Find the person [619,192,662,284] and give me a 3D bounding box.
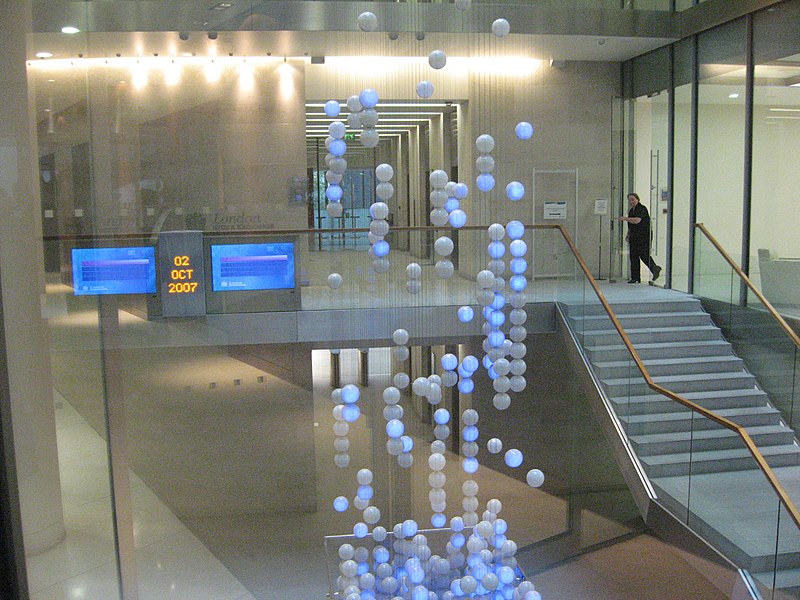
[{"bbox_3d":[3.165,-0.819,10.224,0.552,1.172,0.362,-8,10,-33],"label":"person"}]
